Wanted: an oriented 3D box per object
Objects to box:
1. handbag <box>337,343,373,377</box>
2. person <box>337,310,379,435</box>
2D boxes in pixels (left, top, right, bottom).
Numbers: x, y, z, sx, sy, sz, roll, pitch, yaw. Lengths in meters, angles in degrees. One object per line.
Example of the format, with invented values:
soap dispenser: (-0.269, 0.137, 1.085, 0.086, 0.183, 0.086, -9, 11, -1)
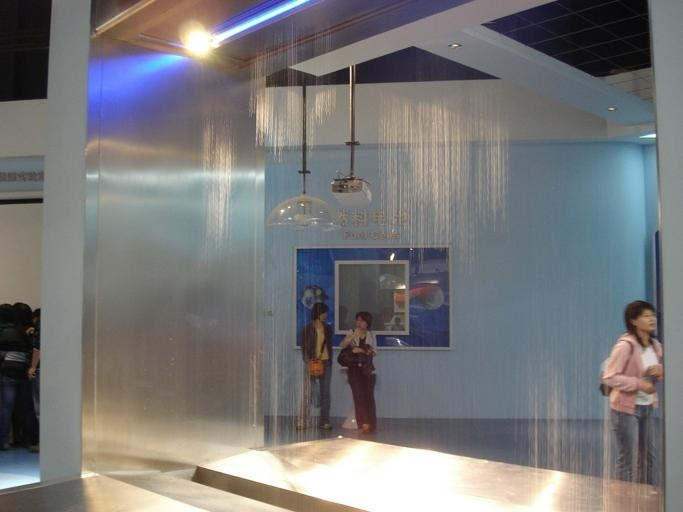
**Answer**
handbag: (0.133, 0.838, 5.427, 0.323, 0.330, 0.190, -2, -22, 10)
person: (0.120, 0.917, 5.385, 0.294, 0.897, 0.773, -1, -1, 3)
